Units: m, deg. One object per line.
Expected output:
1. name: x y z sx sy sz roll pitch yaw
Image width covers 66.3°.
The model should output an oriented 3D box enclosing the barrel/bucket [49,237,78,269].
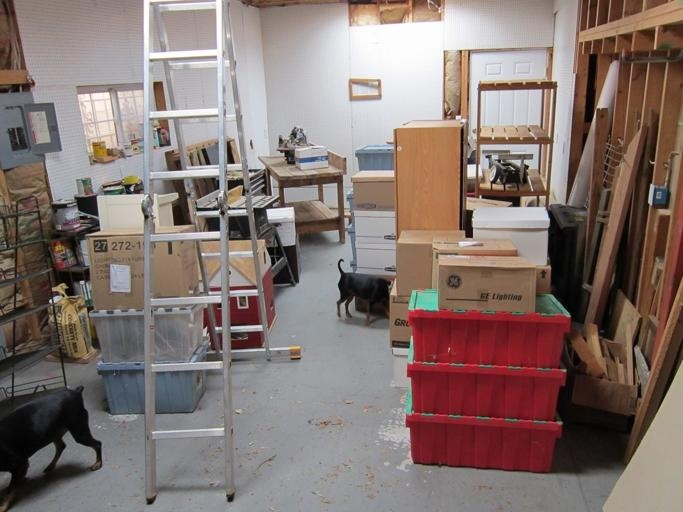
1. barrel/bucket: -2.806 -0.023 5.294 0.210 0.313 0.097 -12 19 -29

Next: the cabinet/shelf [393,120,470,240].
1. cabinet/shelf: 0.838 -0.836 5.140 0.790 1.544 1.160 0 17 13

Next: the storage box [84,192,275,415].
1. storage box: -1.150 0.446 4.677 1.636 1.752 0.955 -1 12 -1

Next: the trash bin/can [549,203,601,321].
1. trash bin/can: 2.180 0.087 4.878 0.564 0.904 0.895 0 17 14
